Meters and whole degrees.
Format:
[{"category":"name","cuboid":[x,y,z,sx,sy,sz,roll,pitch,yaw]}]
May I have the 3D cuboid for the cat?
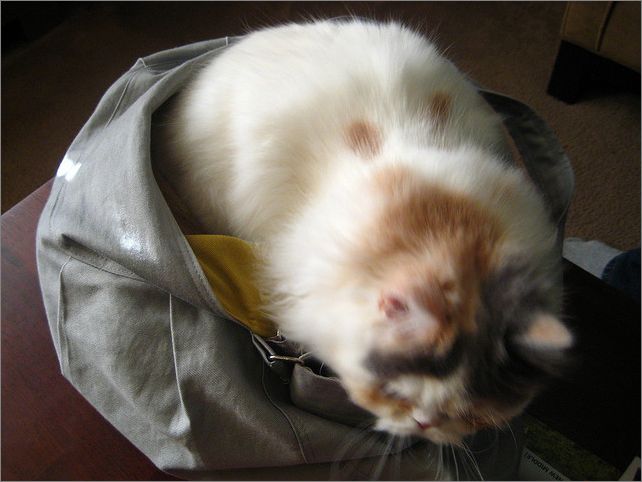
[{"category":"cat","cuboid":[0.074,-0.046,0.947,0.422,0.274,0.643,-37,57,-24]}]
